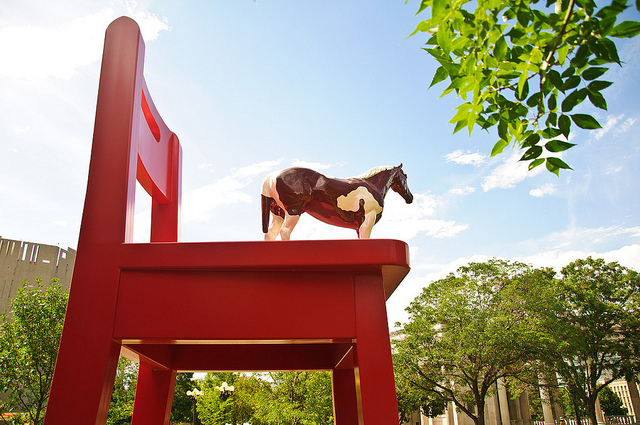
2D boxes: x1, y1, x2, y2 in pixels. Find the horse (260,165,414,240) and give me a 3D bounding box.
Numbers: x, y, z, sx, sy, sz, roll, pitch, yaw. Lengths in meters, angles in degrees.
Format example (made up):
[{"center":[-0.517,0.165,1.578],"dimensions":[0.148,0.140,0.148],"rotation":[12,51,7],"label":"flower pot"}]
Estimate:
[{"center":[0.014,-0.157,6.171],"dimensions":[2.106,1.381,0.640],"rotation":[3,-24,-5],"label":"horse"}]
